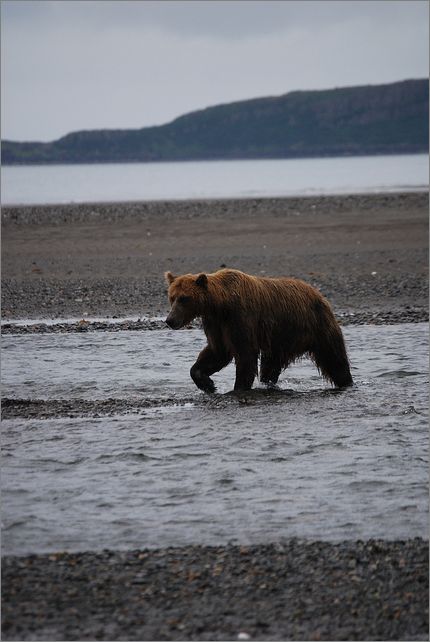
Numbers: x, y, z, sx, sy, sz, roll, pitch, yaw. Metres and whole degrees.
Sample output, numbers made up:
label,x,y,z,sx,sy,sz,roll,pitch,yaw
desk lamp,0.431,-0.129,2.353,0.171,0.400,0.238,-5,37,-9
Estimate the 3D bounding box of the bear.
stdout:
label,x,y,z,sx,sy,sz,roll,pitch,yaw
bear,0.430,0.102,10.026,1.923,1.321,0.688,-5,9,-19
